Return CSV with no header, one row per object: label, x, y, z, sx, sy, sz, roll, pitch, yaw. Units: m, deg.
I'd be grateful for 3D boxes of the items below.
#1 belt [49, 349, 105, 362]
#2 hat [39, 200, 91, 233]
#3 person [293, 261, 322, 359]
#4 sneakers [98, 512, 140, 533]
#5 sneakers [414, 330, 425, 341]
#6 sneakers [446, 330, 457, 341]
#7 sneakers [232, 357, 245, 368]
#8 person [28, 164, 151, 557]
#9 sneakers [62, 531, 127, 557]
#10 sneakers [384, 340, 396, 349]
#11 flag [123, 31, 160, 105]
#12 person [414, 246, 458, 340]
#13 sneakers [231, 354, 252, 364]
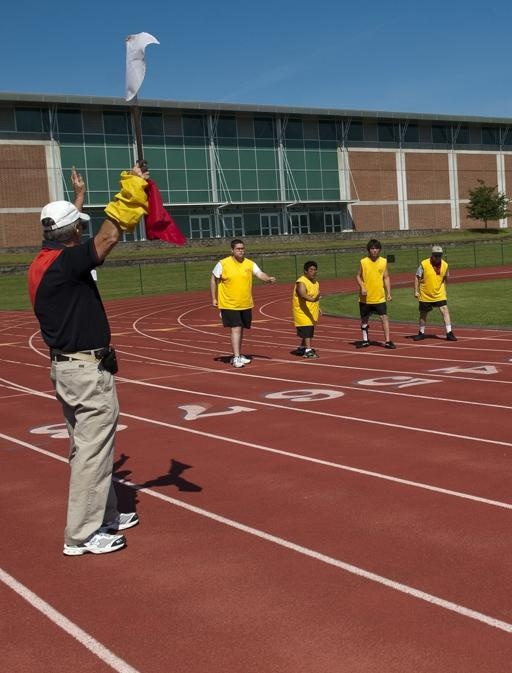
belt,-1.064,0.115,3.259,0.342,0.067,0.123,-2,4,13
hat,-1.104,-0.681,3.279,0.294,0.142,0.206,-16,34,-40
person,1.024,-0.562,11.757,0.606,1.964,1.105,-3,4,4
sneakers,-0.907,1.203,3.724,0.241,0.101,0.089,-8,14,-27
sneakers,3.797,-0.020,13.149,0.256,0.200,0.497,-2,3,15
sneakers,4.452,-0.026,12.833,0.136,0.222,0.389,8,15,37
sneakers,-0.349,0.488,10.725,0.264,0.180,0.228,-2,3,7
person,-0.923,0.186,3.230,0.596,2.200,1.010,-5,4,-25
sneakers,-0.924,1.213,3.341,0.392,0.170,0.131,-2,1,-8
sneakers,2.870,0.182,12.087,0.236,0.170,0.388,-2,3,12
flag,-0.651,-1.504,3.134,0.110,0.395,0.383,-5,4,-31
person,4.229,-1.029,13.452,0.882,2.163,1.489,-2,4,16
sneakers,-0.356,0.441,10.872,0.154,0.152,0.374,-3,2,-44
